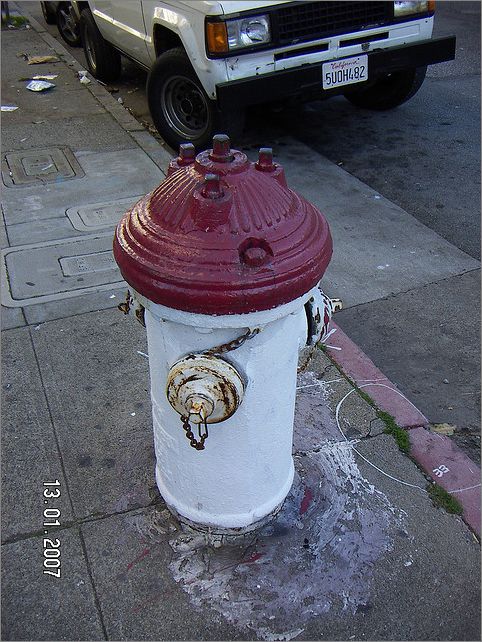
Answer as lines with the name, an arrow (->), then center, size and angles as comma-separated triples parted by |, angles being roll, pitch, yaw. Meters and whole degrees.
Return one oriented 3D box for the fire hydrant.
fire hydrant -> 0.001, 0.200, 1.983 | 0.697, 1.545, 0.601 | -8, 34, -10
